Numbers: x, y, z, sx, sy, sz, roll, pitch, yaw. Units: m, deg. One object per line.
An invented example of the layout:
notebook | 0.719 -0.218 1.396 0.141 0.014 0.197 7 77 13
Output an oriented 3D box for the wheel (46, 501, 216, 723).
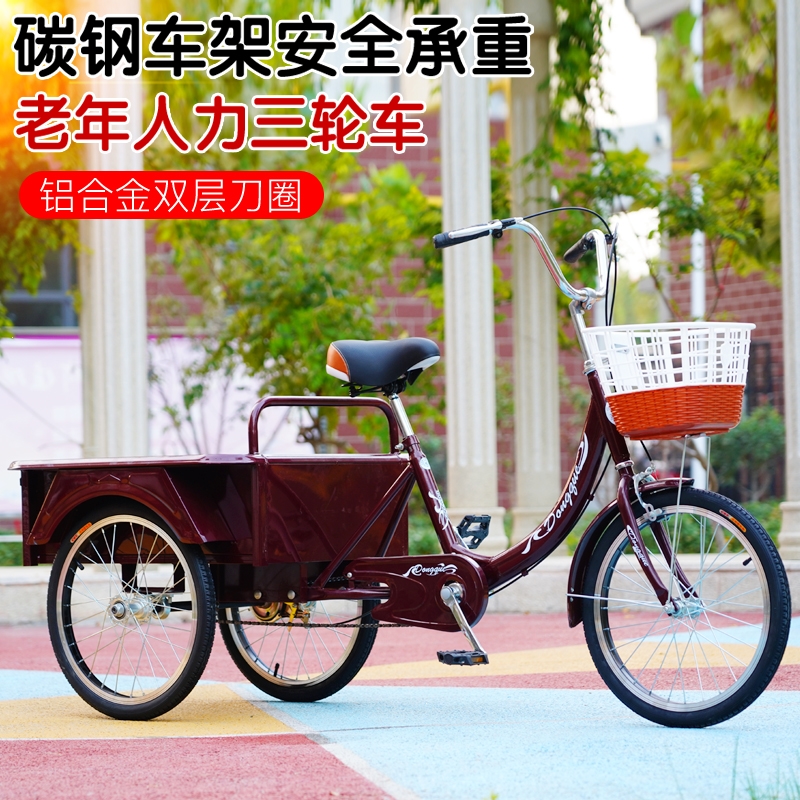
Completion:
wheel | -1.014 0.794 6.265 0.773 0.724 0.175 10 -9 24

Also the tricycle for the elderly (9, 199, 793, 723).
tricycle for the elderly | -0.018 0.306 6.635 3.155 1.837 1.699 -3 -4 22
